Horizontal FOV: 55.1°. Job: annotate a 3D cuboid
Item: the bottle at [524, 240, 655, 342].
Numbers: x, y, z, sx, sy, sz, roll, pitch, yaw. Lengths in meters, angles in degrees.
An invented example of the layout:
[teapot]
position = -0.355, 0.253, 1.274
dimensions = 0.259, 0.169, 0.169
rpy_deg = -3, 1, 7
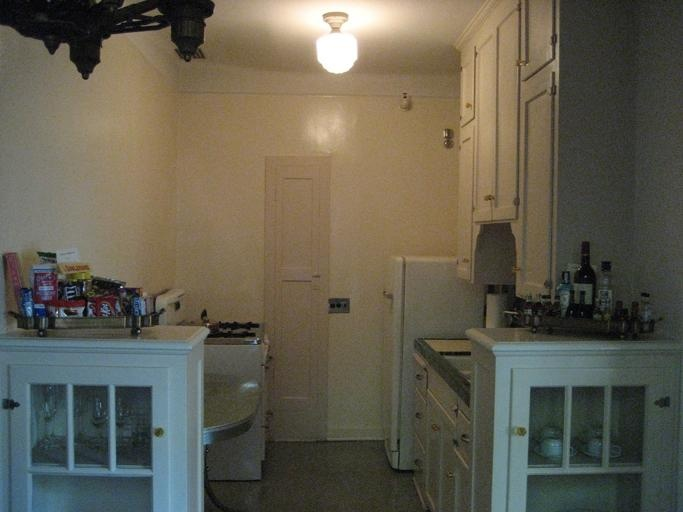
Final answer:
[bottle]
position = 0.987, 0.135, 2.657
dimensions = 0.482, 0.383, 0.247
rpy_deg = -1, -1, 7

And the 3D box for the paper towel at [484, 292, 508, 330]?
[paper towel]
position = 0.898, 0.311, 3.782
dimensions = 0.136, 0.191, 0.100
rpy_deg = -1, -1, 43

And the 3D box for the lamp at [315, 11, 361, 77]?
[lamp]
position = -0.015, -1.220, 3.766
dimensions = 0.267, 0.391, 0.278
rpy_deg = 0, 2, 4
